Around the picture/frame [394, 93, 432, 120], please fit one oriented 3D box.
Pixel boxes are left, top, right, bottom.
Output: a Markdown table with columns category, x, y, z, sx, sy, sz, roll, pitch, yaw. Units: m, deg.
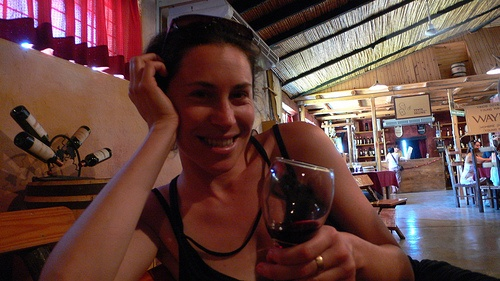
| category | x | y | z | sx | sy | sz | roll | pitch | yaw |
| --- | --- | --- | --- | --- | --- | --- | --- | --- | --- |
| picture/frame | 5.747 | -1.223 | 11.686 | 1.003 | 0.685 | 0.139 | -4 | -15 | 8 |

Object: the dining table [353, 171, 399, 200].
| category | x | y | z | sx | sy | sz | roll | pitch | yaw |
| --- | --- | --- | --- | --- | --- | --- | --- | --- | --- |
| dining table | 3.275 | 0.967 | 8.188 | 1.188 | 0.605 | 0.945 | -1 | 1 | 35 |

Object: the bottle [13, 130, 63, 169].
| category | x | y | z | sx | sy | sz | roll | pitch | yaw |
| --- | --- | --- | --- | --- | --- | --- | --- | --- | --- |
| bottle | -2.303 | 0.136 | 3.749 | 0.208 | 0.203 | 0.681 | -2 | -26 | 22 |

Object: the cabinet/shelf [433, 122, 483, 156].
| category | x | y | z | sx | sy | sz | roll | pitch | yaw |
| --- | --- | --- | --- | --- | --- | --- | --- | --- | --- |
| cabinet/shelf | 8.120 | -0.086 | 12.851 | 1.587 | 1.659 | 0.499 | -3 | -2 | 5 |

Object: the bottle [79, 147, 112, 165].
| category | x | y | z | sx | sy | sz | roll | pitch | yaw |
| --- | --- | --- | --- | --- | --- | --- | --- | --- | --- |
| bottle | -1.892 | 0.213 | 4.157 | 0.154 | 0.149 | 0.465 | 34 | 25 | 19 |

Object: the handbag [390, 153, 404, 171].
| category | x | y | z | sx | sy | sz | roll | pitch | yaw |
| --- | --- | --- | --- | --- | --- | --- | --- | --- | --- |
| handbag | 5.355 | 0.858 | 12.336 | 0.496 | 0.640 | 0.226 | 0 | -24 | -34 |
